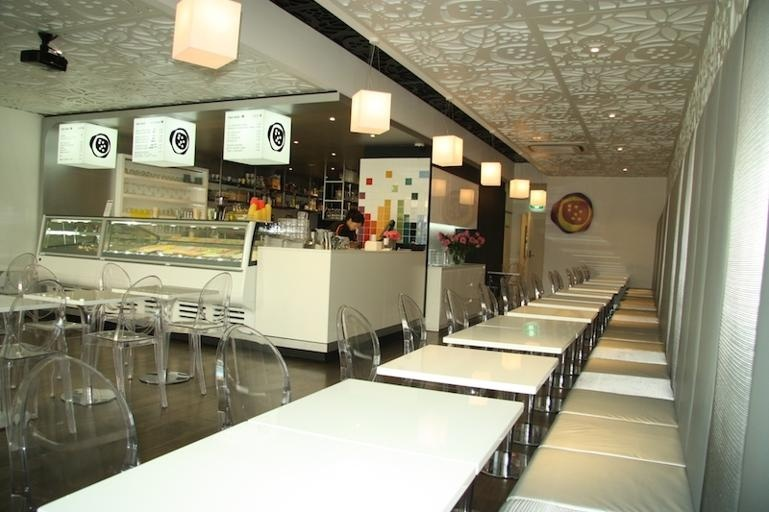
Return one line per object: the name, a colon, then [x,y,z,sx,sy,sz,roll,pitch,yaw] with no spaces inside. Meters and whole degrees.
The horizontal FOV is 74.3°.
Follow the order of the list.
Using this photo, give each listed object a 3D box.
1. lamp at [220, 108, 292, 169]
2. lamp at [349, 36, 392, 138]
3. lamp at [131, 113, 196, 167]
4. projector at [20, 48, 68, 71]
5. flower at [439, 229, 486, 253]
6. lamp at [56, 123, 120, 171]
lamp: [-1.851,-1.744,7.456,0.880,0.664,0.868,2,3,3]
lamp: [-0.127,-2.019,5.888,0.667,0.956,0.658,-11,22,-23]
lamp: [-3.554,-1.859,8.217,0.729,0.640,0.764,5,4,31]
projector: [-3.861,-2.237,5.745,0.417,0.187,0.213,-3,3,-33]
flower: [1.539,-0.292,9.560,0.742,0.503,0.748,3,3,28]
lamp: [-5.381,-1.997,9.242,0.901,0.656,0.890,3,1,-5]
